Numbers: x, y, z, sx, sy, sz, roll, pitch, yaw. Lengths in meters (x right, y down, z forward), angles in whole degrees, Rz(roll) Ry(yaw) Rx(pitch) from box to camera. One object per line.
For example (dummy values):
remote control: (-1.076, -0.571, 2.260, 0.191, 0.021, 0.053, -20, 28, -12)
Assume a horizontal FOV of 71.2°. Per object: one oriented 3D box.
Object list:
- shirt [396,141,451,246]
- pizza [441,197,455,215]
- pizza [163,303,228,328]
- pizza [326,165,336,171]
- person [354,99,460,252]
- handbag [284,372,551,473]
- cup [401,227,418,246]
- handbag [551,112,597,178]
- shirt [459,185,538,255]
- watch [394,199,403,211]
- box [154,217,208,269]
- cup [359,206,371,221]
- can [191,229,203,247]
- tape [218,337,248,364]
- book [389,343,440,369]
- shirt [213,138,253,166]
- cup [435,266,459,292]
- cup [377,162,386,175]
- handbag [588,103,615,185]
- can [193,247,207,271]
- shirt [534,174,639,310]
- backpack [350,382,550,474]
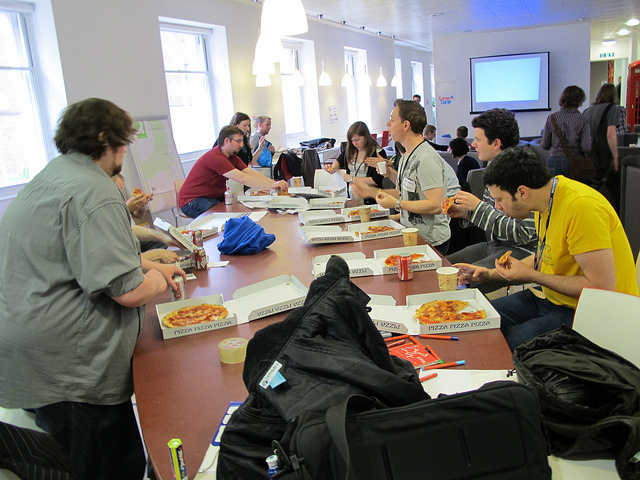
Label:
shirt: (0.826, -0.385, 3.588, 0.389, 0.810, 0.623, -2, 9, -3)
pizza: (0.807, -0.224, 2.827, 0.025, 0.103, 0.106, 41, 12, 7)
pizza: (-0.566, 0.346, 2.067, 0.164, 0.022, 0.121, -11, 14, -23)
pizza: (0.128, -0.830, 5.135, 0.090, 0.022, 0.092, -21, 5, 0)
person: (0.783, -0.193, 3.755, 0.736, 1.899, 0.587, 13, 30, 36)
handbag: (0.251, 0.449, 1.033, 0.376, 0.146, 0.302, -5, -3, 6)
cup: (0.566, -0.024, 2.842, 0.096, 0.083, 0.103, -1, 8, 0)
handbag: (3.230, -1.234, 5.738, 0.377, 0.758, 0.845, 1, 15, 19)
shirt: (1.174, -0.103, 2.996, 0.472, 0.336, 0.406, -25, 12, 4)
watch: (0.602, -0.264, 3.419, 0.054, 0.084, 0.081, 3, 29, 20)
box: (-0.848, 0.001, 2.789, 0.253, 0.334, 0.376, -6, 14, -8)
cup: (0.350, -0.203, 3.415, 0.096, 0.084, 0.101, -2, 10, 0)
can: (-0.854, -0.013, 3.087, 0.097, 0.163, 0.101, -2, 2, 0)
tape: (-0.331, 0.432, 1.726, 0.135, 0.077, 0.141, 0, 7, -2)
book: (0.357, 0.435, 1.680, 0.109, 0.014, 0.121, -4, 21, -19)
shirt: (-1.246, -1.275, 6.619, 0.487, 0.509, 0.366, -17, 8, 7)
cup: (0.604, 0.182, 2.129, 0.102, 0.091, 0.110, -1, 7, 0)
cup: (0.539, -0.630, 3.897, 0.087, 0.098, 0.086, -4, 7, 1)
handbag: (3.921, -1.307, 6.228, 0.369, 1.057, 0.589, 9, 24, 26)
can: (-0.741, 0.107, 2.783, 0.077, 0.138, 0.142, -8, 14, -15)
shirt: (1.239, -0.003, 2.043, 0.418, 0.547, 0.268, 2, 15, 23)
backpack: (0.320, 0.461, 1.052, 0.362, 0.139, 0.230, -11, 19, 8)
